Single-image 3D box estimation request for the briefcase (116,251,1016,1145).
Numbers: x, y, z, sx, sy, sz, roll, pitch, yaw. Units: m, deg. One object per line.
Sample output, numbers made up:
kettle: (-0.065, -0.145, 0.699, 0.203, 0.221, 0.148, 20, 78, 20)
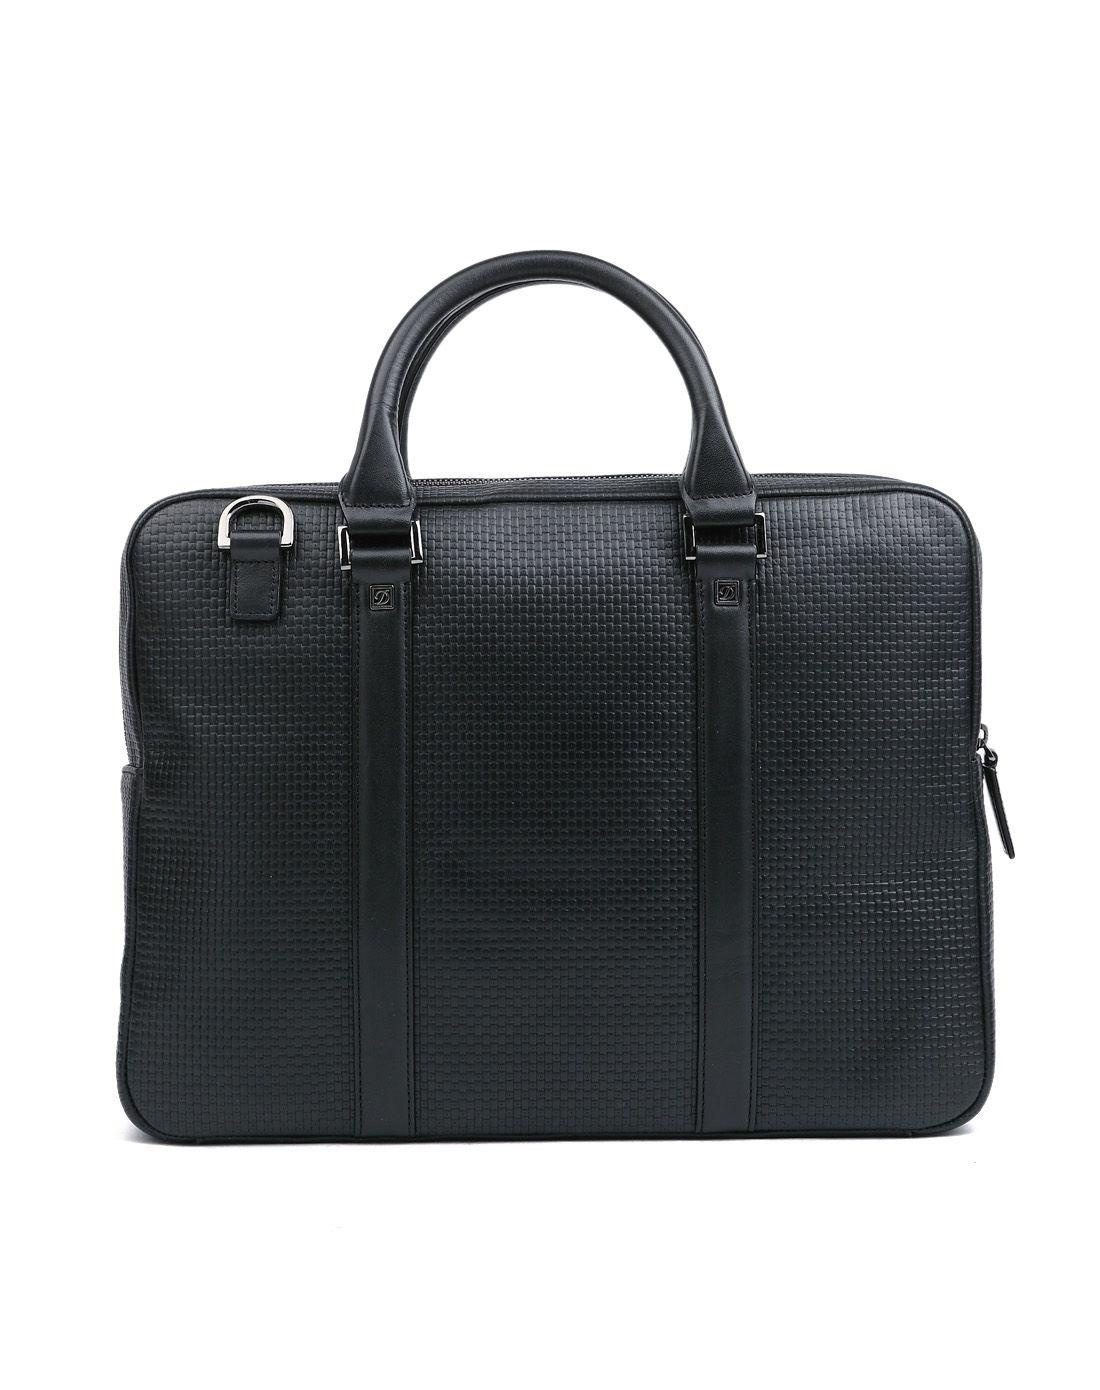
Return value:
briefcase: (-0.004, -0.011, 1.612, 0.879, 0.879, 0.325, -1, 6, -1)
